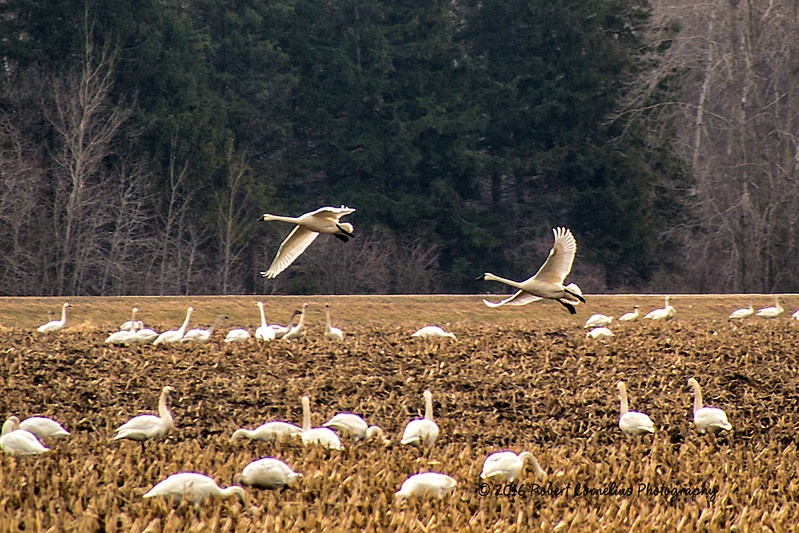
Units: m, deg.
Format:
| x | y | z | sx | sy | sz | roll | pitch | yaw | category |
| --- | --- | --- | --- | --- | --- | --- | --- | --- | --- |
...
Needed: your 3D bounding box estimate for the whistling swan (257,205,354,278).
| x | y | z | sx | sy | sz | roll | pitch | yaw | category |
| --- | --- | --- | --- | --- | --- | --- | --- | --- | --- |
| -2.957 | -1.220 | 51.862 | 2.624 | 1.022 | 3.655 | -4 | -26 | -30 | whistling swan |
